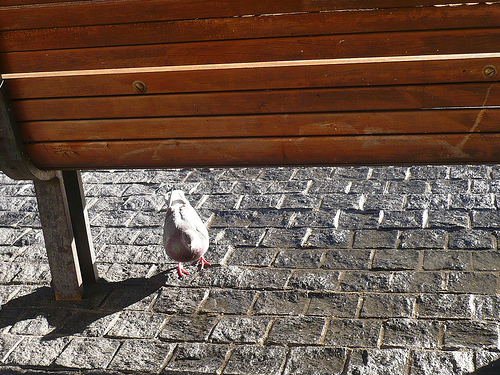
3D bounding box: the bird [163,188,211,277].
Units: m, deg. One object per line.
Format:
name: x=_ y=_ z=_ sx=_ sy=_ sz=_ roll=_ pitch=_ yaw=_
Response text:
bird: x=-0.610 y=0.404 z=4.650 sx=0.321 sy=0.870 sz=0.507 roll=-7 pitch=-20 yaw=-11
